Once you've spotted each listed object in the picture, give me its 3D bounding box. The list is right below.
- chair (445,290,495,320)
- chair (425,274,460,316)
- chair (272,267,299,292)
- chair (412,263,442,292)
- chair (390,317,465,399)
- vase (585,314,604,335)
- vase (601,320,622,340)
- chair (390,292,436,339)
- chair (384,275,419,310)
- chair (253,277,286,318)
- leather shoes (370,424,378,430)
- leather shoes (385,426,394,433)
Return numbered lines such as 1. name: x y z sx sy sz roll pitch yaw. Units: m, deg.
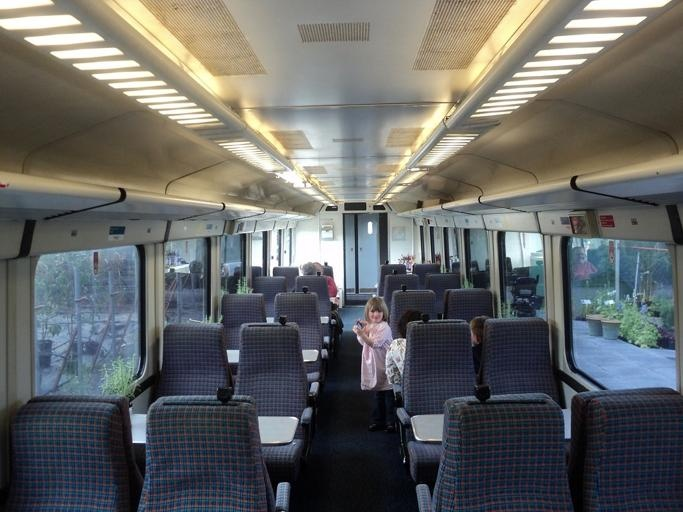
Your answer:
1. chair: 2.238 0.841 8.013 0.648 0.666 0.564 0 -2 3
2. chair: 2.305 0.922 10.392 0.881 1.266 0.937 1 3 3
3. chair: -1.500 0.623 12.449 0.684 0.755 0.626 0 -2 -2
4. chair: 2.378 0.627 12.970 0.739 1.023 0.741 2 3 7
5. chair: 1.106 1.221 5.470 0.862 1.289 1.014 3 -5 4
6. vase: 3.009 0.820 5.459 0.207 0.217 0.187 -1 1 8
7. vase: 3.056 0.838 5.212 0.183 0.186 0.189 0 -1 0
8. chair: 1.133 0.929 7.355 0.702 1.037 0.745 2 -7 2
9. chair: 1.140 0.681 8.735 0.695 1.011 0.538 2 1 -5
10. chair: -1.524 0.873 9.756 0.749 1.119 0.818 1 -2 7
11. leather shoes: 0.446 2.379 6.321 0.124 0.055 0.056 -1 6 -2
12. leather shoes: 0.650 2.368 6.190 0.064 0.073 0.166 -1 -13 7
